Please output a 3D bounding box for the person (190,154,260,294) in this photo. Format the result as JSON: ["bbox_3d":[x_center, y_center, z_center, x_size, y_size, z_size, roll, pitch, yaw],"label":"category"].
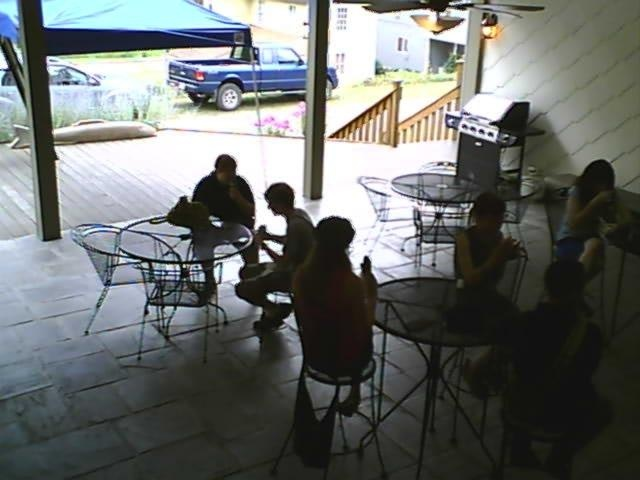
[{"bbox_3d":[-0.924,-0.140,5.133,0.819,1.239,0.757,11,19,27],"label":"person"}]

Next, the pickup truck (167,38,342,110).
[{"bbox_3d":[-1.361,-4.083,13.913,4.796,1.669,2.330,-11,26,-22],"label":"pickup truck"}]

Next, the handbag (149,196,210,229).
[{"bbox_3d":[-1.331,-0.229,4.869,0.587,0.285,0.368,-1,-13,36],"label":"handbag"}]

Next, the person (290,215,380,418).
[{"bbox_3d":[0.082,0.390,3.237,0.510,1.089,0.228,2,20,5],"label":"person"}]

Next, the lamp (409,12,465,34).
[{"bbox_3d":[0.973,-1.830,4.364,0.292,0.167,0.550,16,24,37],"label":"lamp"}]

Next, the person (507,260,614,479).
[{"bbox_3d":[1.455,0.820,3.121,0.610,1.382,0.343,8,22,19],"label":"person"}]

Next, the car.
[{"bbox_3d":[-5.396,-3.324,11.712,2.902,0.860,1.611,-10,34,-22],"label":"car"}]
